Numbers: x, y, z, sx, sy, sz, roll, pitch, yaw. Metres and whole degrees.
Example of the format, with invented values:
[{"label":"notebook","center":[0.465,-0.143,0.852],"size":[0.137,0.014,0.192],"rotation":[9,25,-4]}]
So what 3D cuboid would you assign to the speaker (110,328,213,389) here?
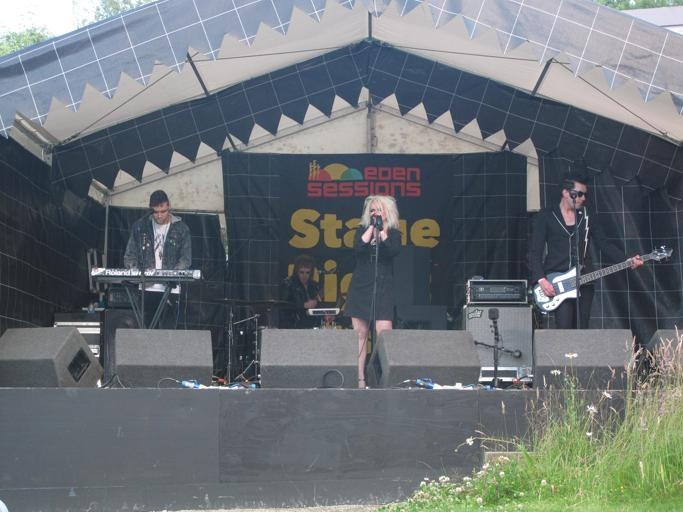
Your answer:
[{"label":"speaker","center":[-1.303,0.764,8.711],"size":[0.696,0.458,0.283],"rotation":[1,-10,-11]}]

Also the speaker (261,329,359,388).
[{"label":"speaker","center":[-0.243,0.763,8.686],"size":[0.637,0.438,0.625],"rotation":[1,1,2]}]

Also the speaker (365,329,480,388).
[{"label":"speaker","center":[0.628,0.770,8.760],"size":[0.726,0.416,0.179],"rotation":[-1,-9,-3]}]

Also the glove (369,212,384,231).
[{"label":"glove","center":[0.273,-0.263,9.992],"size":[0.048,0.134,0.091],"rotation":[-2,-2,-44]}]

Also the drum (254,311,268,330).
[{"label":"drum","center":[-0.823,0.669,12.289],"size":[0.127,0.213,0.372],"rotation":[0,-11,-4]}]

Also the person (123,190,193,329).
[{"label":"person","center":[-1.651,-0.003,10.853],"size":[0.500,1.575,0.484],"rotation":[0,5,-13]}]

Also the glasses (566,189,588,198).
[{"label":"glasses","center":[1.968,-0.513,10.120],"size":[0.091,0.050,0.124],"rotation":[4,-9,-16]}]

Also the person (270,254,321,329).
[{"label":"person","center":[-0.461,0.388,12.406],"size":[0.441,0.815,0.465],"rotation":[-1,-10,-2]}]

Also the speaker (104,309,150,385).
[{"label":"speaker","center":[-2.060,0.788,11.007],"size":[0.404,0.811,0.403],"rotation":[0,4,32]}]

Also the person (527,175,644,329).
[{"label":"person","center":[1.981,-0.039,10.354],"size":[0.805,1.499,0.720],"rotation":[4,4,18]}]
